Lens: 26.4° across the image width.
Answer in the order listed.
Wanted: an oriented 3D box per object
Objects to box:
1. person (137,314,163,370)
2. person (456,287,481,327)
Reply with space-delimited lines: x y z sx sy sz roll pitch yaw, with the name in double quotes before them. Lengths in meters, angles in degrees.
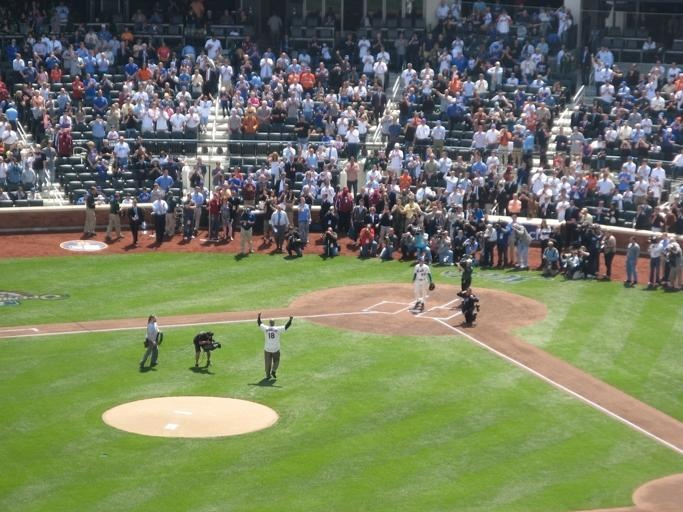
"person" -6.956 3.098 53.653 0.733 1.936 1.206 1 10 -1
"person" 5.096 2.018 58.365 0.733 1.377 1.023 4 10 14
